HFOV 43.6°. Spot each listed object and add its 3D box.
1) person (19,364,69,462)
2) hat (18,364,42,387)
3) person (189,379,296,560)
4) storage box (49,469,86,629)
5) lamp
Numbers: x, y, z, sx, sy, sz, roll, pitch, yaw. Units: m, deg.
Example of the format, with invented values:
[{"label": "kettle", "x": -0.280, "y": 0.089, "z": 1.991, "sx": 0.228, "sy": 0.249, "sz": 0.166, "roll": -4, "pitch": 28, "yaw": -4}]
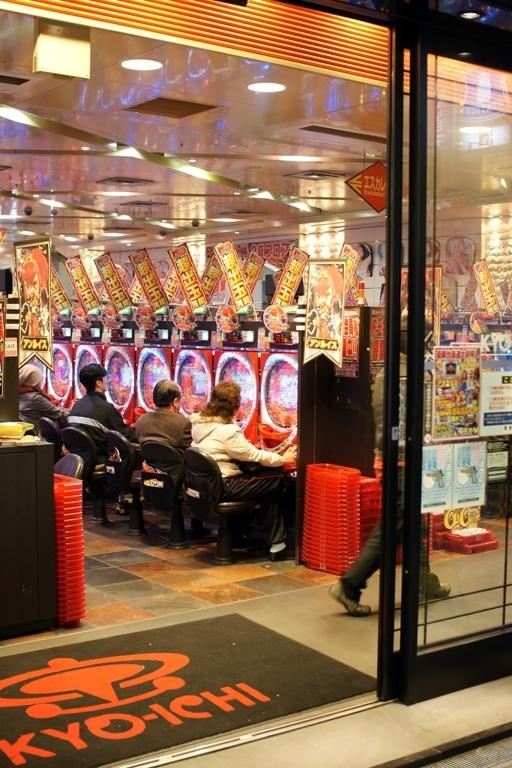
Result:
[{"label": "person", "x": -2.436, "y": 0.347, "z": 7.482, "sx": 0.684, "sy": 1.119, "sz": 0.542, "roll": -10, "pitch": 23, "yaw": -34}, {"label": "hat", "x": -2.536, "y": -0.105, "z": 7.259, "sx": 0.206, "sy": 0.254, "sz": 0.321, "roll": 2, "pitch": -4, "yaw": -19}, {"label": "person", "x": -0.087, "y": 0.674, "z": 5.093, "sx": 0.824, "sy": 1.423, "sz": 0.447, "roll": 1, "pitch": -4, "yaw": -6}, {"label": "storage box", "x": -1.046, "y": 0.959, "z": 3.595, "sx": 0.164, "sy": 0.808, "sz": 0.138, "roll": 0, "pitch": -4, "yaw": 8}, {"label": "lamp", "x": -0.736, "y": -1.273, "z": 2.448, "sx": 0.197, "sy": 0.259, "sz": 0.173, "roll": 2, "pitch": -4, "yaw": -20}]
